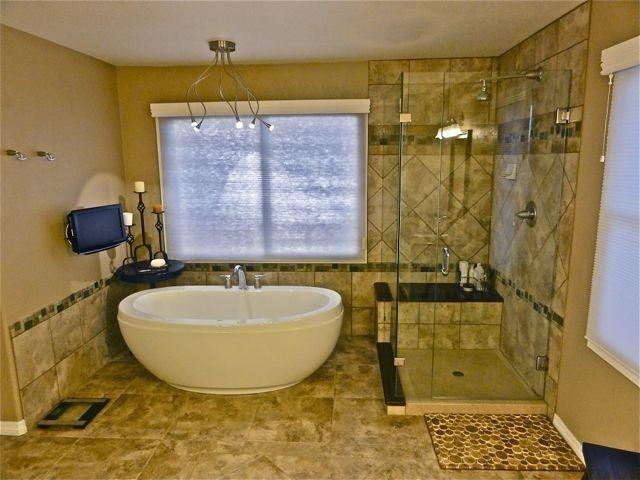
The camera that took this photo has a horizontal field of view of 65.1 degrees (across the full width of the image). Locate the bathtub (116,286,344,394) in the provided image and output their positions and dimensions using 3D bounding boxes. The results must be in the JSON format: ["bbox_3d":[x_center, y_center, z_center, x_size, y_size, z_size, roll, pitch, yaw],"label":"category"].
[{"bbox_3d":[-0.768,0.858,4.515,1.960,0.776,0.858,-3,10,2],"label":"bathtub"}]

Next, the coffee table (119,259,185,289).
[{"bbox_3d":[-1.658,0.298,4.837,0.649,0.177,0.506,-6,10,-16],"label":"coffee table"}]

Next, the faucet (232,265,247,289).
[{"bbox_3d":[-0.786,0.342,4.912,0.126,0.263,0.448,-5,10,-8],"label":"faucet"}]

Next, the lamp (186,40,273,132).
[{"bbox_3d":[-0.853,-1.406,4.718,0.871,0.628,0.740,-2,5,-26],"label":"lamp"}]

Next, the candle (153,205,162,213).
[{"bbox_3d":[-1.587,-0.307,4.895,0.076,0.060,0.075,2,6,6],"label":"candle"}]

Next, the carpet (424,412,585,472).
[{"bbox_3d":[1.328,1.470,3.672,1.036,0.202,0.500,-3,10,3],"label":"carpet"}]
